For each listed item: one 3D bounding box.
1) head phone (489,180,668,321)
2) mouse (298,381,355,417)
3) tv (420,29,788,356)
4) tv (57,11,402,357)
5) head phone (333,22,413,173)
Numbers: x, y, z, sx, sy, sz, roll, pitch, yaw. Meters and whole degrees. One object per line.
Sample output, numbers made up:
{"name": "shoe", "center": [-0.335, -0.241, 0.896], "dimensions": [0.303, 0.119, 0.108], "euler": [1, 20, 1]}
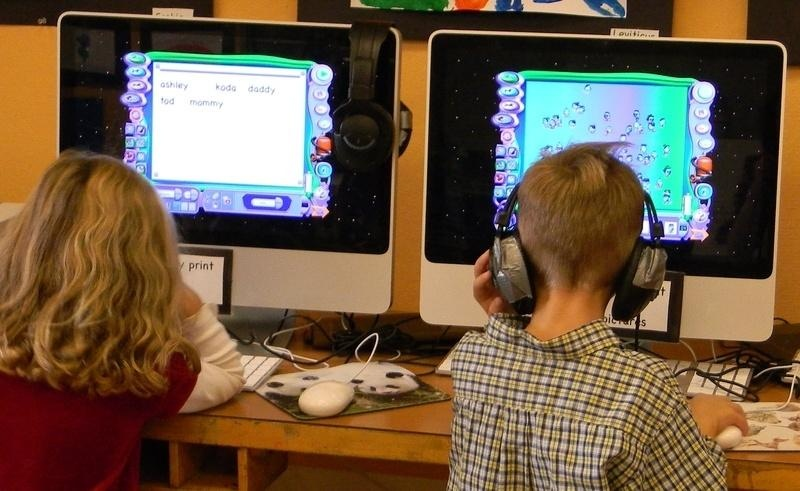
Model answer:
{"name": "head phone", "center": [0.342, 0.013, 1.428], "dimensions": [0.333, 0.271, 0.144], "euler": [3, 5, 9]}
{"name": "mouse", "center": [-0.160, 0.320, 1.552], "dimensions": [0.092, 0.028, 0.065], "euler": [-16, 39, -30]}
{"name": "tv", "center": [0.514, -0.128, 1.577], "dimensions": [0.889, 0.738, 0.204], "euler": [3, 2, 4]}
{"name": "tv", "center": [-0.421, -0.172, 1.751], "dimensions": [0.917, 0.735, 0.383], "euler": [1, 1, 4]}
{"name": "head phone", "center": [-0.051, -0.369, 1.832], "dimensions": [0.122, 0.358, 0.223], "euler": [10, 13, 42]}
